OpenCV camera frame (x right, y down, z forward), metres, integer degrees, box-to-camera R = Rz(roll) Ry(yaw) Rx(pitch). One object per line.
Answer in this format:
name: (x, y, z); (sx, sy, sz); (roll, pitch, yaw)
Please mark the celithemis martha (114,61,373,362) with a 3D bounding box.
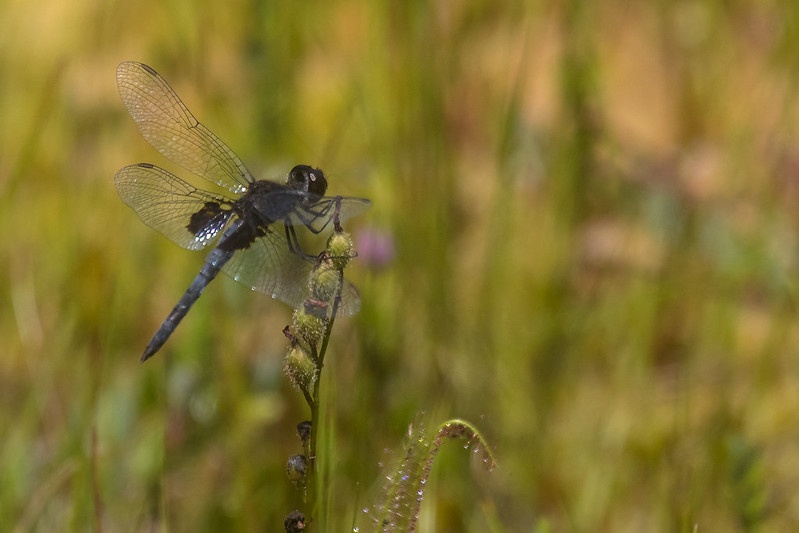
celithemis martha: (-0.233, -0.107, 1.513); (0.385, 0.131, 0.417); (-6, 72, 7)
